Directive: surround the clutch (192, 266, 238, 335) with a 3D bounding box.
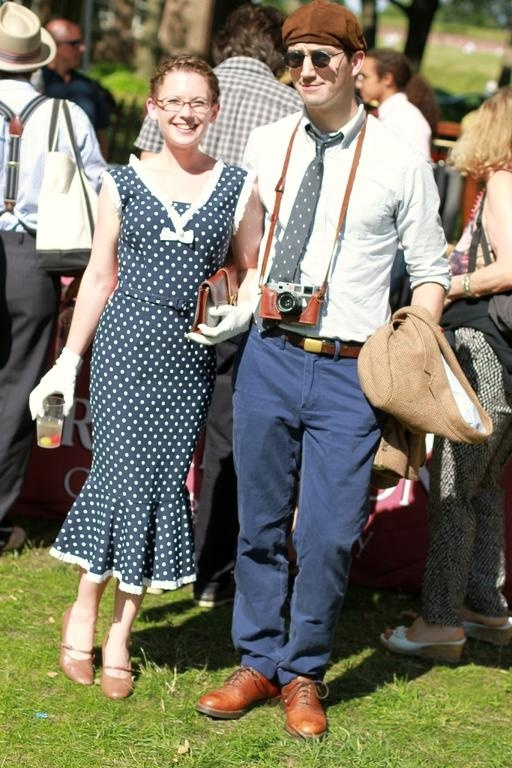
[{"bbox_3d":[-0.133,-0.271,2.373,0.184,0.189,0.185,5,24,-11],"label":"clutch"}]

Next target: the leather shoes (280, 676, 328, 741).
[{"bbox_3d":[0.151,1.025,2.440,0.143,0.121,0.283,6,1,-13],"label":"leather shoes"}]

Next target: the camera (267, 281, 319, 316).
[{"bbox_3d":[0.108,-0.249,2.246,0.177,0.110,0.094,4,-3,19],"label":"camera"}]

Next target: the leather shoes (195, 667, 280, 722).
[{"bbox_3d":[-0.063,1.000,2.542,0.107,0.109,0.276,29,15,34],"label":"leather shoes"}]

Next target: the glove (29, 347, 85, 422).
[{"bbox_3d":[-0.635,0.006,2.569,0.215,0.201,0.241,-10,24,-26],"label":"glove"}]
